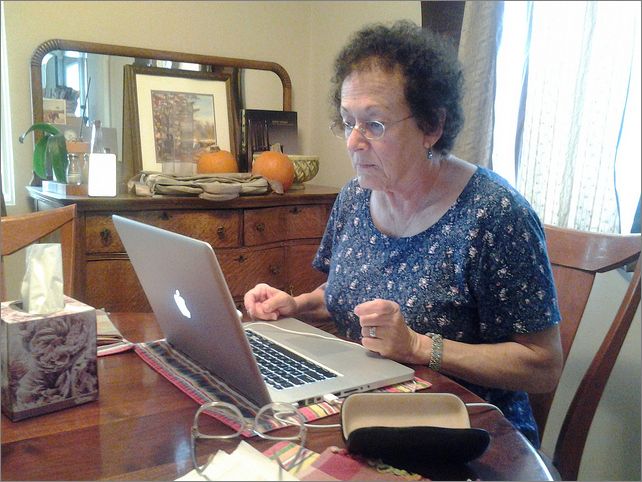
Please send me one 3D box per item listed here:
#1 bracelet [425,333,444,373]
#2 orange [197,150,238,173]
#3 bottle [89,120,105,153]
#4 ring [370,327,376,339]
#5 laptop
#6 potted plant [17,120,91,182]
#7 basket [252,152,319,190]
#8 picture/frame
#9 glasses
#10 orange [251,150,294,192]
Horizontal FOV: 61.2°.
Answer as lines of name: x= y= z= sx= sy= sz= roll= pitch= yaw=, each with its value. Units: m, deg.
bracelet: x=0.278 y=0.268 z=1.305 sx=0.054 sy=0.070 sz=0.027 roll=11 pitch=-18 yaw=-43
orange: x=-0.509 y=-0.384 z=2.668 sx=0.133 sy=0.124 sz=0.135 roll=3 pitch=18 yaw=19
bottle: x=-1.004 y=-0.469 z=2.422 sx=0.059 sy=0.143 sz=0.427 roll=-7 pitch=13 yaw=-21
ring: x=0.129 y=0.216 z=1.266 sx=0.021 sy=0.021 sz=0.020 roll=-8 pitch=55 yaw=12
laptop: x=-0.145 y=0.132 z=1.264 sx=0.582 sy=0.351 sz=0.636 roll=-2 pitch=8 yaw=-23
potted plant: x=-1.204 y=-0.444 z=2.397 sx=0.245 sy=0.069 sz=0.167 roll=19 pitch=14 yaw=-6
basket: x=-0.161 y=-0.352 z=2.788 sx=0.265 sy=0.158 sz=0.268 roll=-4 pitch=6 yaw=15
picture/frame: x=-0.745 y=-0.610 z=2.762 sx=0.687 sy=0.657 sz=0.055 roll=-2 pitch=-2 yaw=-35
glasses: x=-0.131 y=0.337 z=0.993 sx=0.203 sy=0.102 sz=0.181 roll=-3 pitch=13 yaw=-5
orange: x=-0.232 y=-0.369 z=2.672 sx=0.198 sy=0.192 sz=0.201 roll=13 pitch=19 yaw=28
